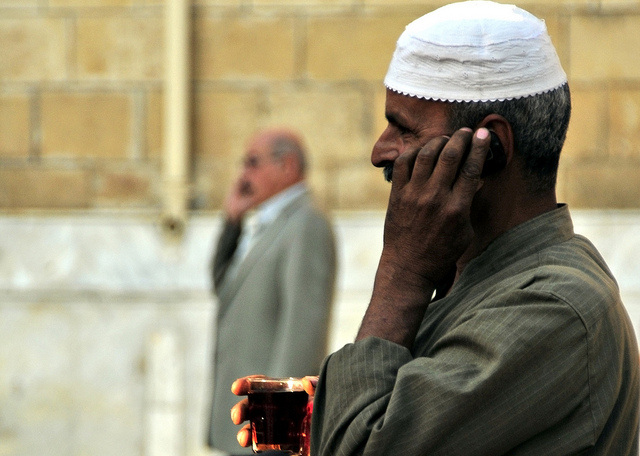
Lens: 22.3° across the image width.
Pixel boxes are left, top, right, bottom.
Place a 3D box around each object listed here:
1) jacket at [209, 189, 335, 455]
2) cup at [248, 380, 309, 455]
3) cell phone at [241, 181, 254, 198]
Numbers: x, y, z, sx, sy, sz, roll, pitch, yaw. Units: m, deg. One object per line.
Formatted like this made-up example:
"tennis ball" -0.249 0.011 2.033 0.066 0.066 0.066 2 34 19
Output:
"jacket" -0.229 0.494 8.193 0.504 1.480 1.021 10 -14 -18
"cup" -0.196 0.834 7.264 0.291 0.416 0.294 1 -2 0
"cell phone" -0.396 -0.214 8.828 0.024 0.070 0.065 0 -8 -27
